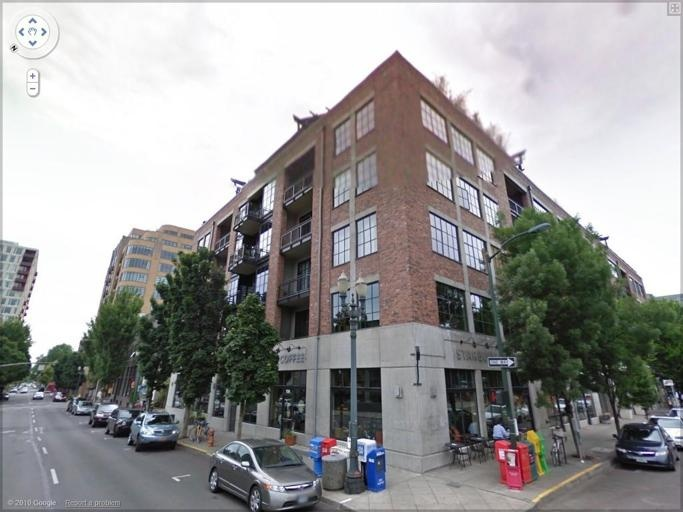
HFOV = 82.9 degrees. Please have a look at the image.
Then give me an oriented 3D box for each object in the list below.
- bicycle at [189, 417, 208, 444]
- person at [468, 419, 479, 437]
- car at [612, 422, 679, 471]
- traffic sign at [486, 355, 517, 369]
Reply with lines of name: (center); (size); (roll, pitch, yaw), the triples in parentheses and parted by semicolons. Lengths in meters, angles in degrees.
bicycle: (-8.798, 10.575, 23.847); (0.851, 1.021, 1.726); (16, -34, -26)
person: (6.783, 8.706, 19.886); (0.676, 0.925, 0.541); (1, -21, -2)
car: (14.065, 8.711, 17.950); (2.333, 1.732, 1.700); (3, -13, -13)
traffic sign: (6.915, 4.433, 16.566); (1.012, 0.492, 1.006); (-7, -15, 27)
